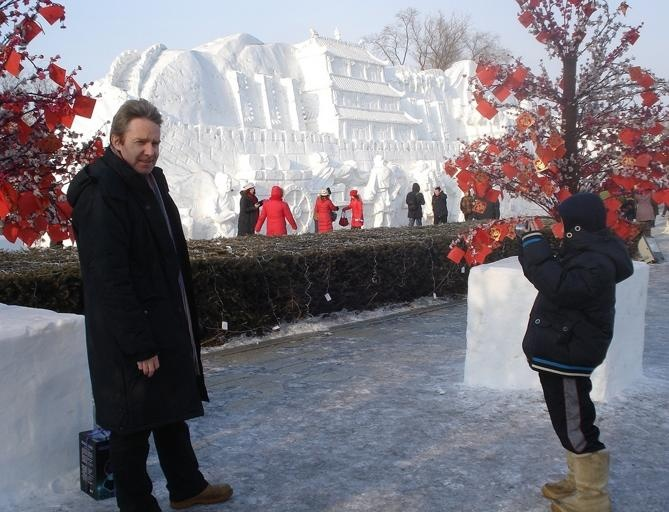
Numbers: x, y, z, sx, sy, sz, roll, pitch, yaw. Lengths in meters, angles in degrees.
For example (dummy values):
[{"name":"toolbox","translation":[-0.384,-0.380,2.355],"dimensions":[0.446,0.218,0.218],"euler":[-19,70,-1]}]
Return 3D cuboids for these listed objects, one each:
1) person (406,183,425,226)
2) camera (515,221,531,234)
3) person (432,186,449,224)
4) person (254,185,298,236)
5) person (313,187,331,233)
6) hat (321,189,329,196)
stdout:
[{"name":"person","translation":[3.071,-1.993,18.439],"dimensions":[0.614,1.629,1.268],"euler":[-1,6,10]},{"name":"camera","translation":[1.171,-0.185,3.021],"dimensions":[0.077,0.073,0.072],"euler":[-12,17,-43]},{"name":"person","translation":[4.054,-2.008,18.881],"dimensions":[0.485,1.390,1.142],"euler":[0,6,21]},{"name":"person","translation":[-1.438,-1.099,11.577],"dimensions":[0.883,1.152,1.179],"euler":[-3,6,-9]},{"name":"person","translation":[-0.318,-1.220,13.458],"dimensions":[0.521,1.299,0.439],"euler":[2,34,1]},{"name":"hat","translation":[-0.279,-1.749,13.172],"dimensions":[0.137,0.173,0.183],"euler":[5,23,11]}]
